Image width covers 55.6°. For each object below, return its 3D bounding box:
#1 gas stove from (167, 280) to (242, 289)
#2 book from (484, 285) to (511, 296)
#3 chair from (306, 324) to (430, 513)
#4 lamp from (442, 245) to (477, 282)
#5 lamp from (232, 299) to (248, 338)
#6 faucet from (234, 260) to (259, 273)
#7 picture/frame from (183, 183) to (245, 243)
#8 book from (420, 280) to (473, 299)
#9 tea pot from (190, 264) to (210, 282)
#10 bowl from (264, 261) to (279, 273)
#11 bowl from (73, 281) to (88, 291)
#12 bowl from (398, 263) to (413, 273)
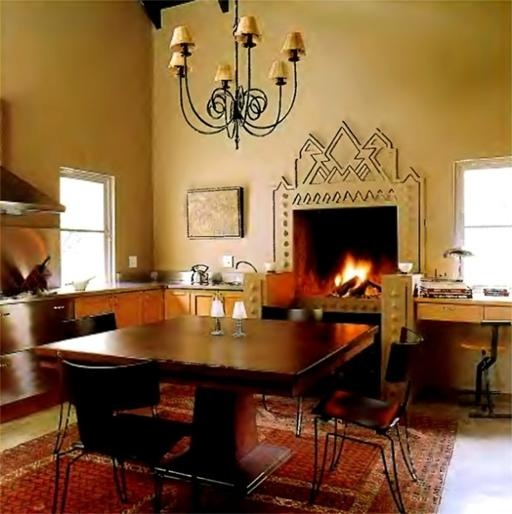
[{"bbox_3d":[-0.531,0.325,5.470,0.978,0.053,0.283,1,5,28],"label":"gas stove"},{"bbox_3d":[2.032,0.289,4.098,0.223,0.064,0.342,0,5,23],"label":"book"},{"bbox_3d":[0.684,0.866,3.075,0.774,1.411,0.787,2,-3,18],"label":"chair"},{"bbox_3d":[1.840,0.055,4.416,0.274,0.326,0.275,-2,-1,39],"label":"lamp"},{"bbox_3d":[-0.098,0.363,2.886,0.094,0.205,0.095,-3,-3,37],"label":"lamp"},{"bbox_3d":[-0.099,0.104,5.658,0.320,0.149,0.061,16,4,14],"label":"faucet"},{"bbox_3d":[-0.476,-0.538,5.814,0.623,0.548,0.088,1,4,29],"label":"picture/frame"},{"bbox_3d":[1.532,0.264,4.018,0.452,0.136,0.203,2,6,39],"label":"book"},{"bbox_3d":[-0.672,0.194,5.790,0.151,0.255,0.242,-2,-8,14],"label":"tea pot"},{"bbox_3d":[0.158,0.107,5.133,0.103,0.127,0.123,3,4,39],"label":"bowl"},{"bbox_3d":[-1.667,0.273,4.651,0.121,0.088,0.100,-4,5,-28],"label":"bowl"},{"bbox_3d":[1.347,0.091,4.409,0.111,0.098,0.123,1,-4,-1],"label":"bowl"}]
